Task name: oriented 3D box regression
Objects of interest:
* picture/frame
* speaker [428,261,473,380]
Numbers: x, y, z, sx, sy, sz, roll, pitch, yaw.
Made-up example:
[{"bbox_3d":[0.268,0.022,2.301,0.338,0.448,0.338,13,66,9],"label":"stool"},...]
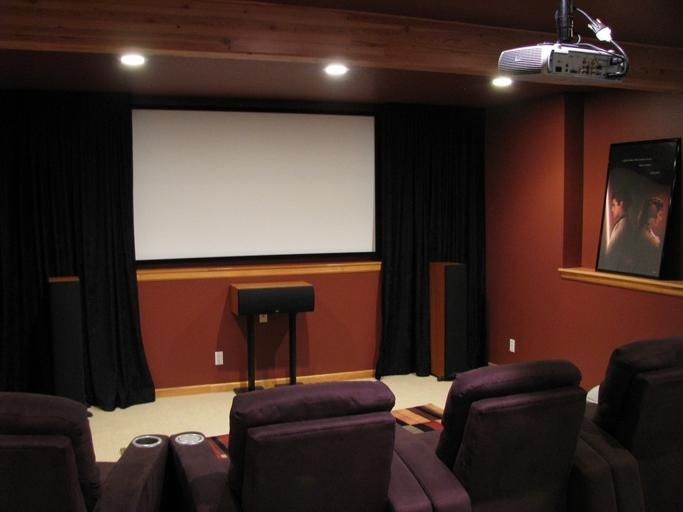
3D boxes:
[{"bbox_3d":[2.532,-0.415,4.572,0.242,1.147,0.670,-4,6,-19],"label":"picture/frame"},{"bbox_3d":[1.131,0.691,5.681,0.279,1.177,0.378,-2,3,-30],"label":"speaker"}]
